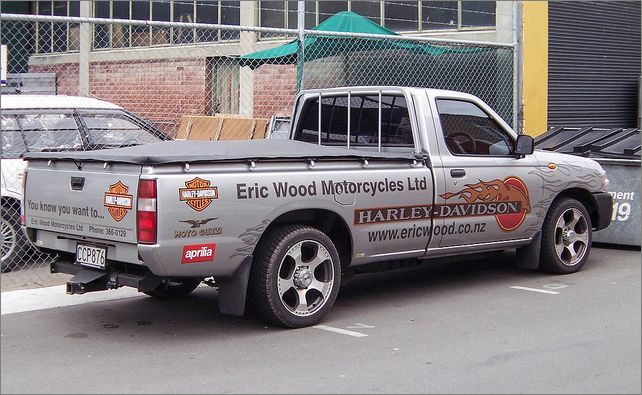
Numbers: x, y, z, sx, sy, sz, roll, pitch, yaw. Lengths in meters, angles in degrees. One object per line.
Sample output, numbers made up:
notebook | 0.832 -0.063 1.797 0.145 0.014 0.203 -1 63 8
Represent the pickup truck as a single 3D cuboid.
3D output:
pickup truck | 0.421 -0.009 7.353 7.053 2.355 3.109 -8 10 -32
